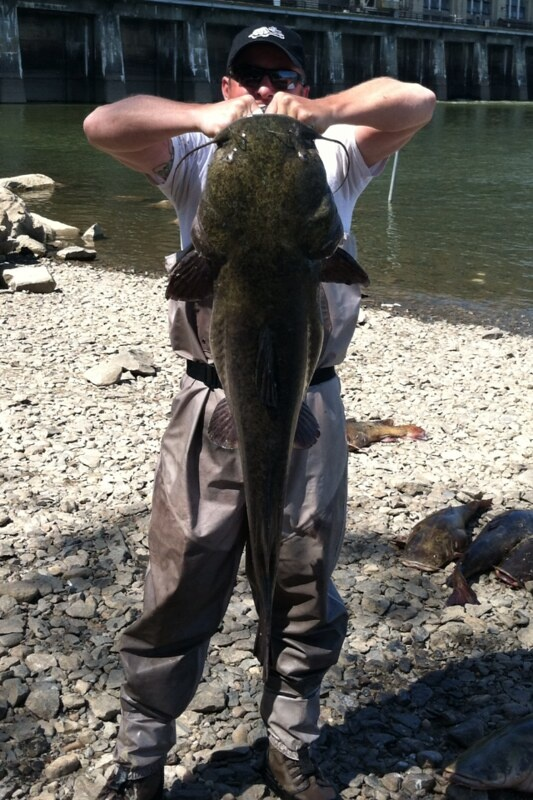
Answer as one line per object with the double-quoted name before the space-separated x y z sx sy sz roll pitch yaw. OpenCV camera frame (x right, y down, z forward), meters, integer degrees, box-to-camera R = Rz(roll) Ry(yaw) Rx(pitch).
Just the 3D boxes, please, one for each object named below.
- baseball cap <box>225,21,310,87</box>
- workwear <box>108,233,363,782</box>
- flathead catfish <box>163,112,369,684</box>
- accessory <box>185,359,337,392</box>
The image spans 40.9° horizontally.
"baseball cap" 0.002 -1.125 2.249 0.181 0.225 0.227 6 37 0
"workwear" -0.117 0.334 2.399 0.713 1.618 0.666 6 8 2
"flathead catfish" 0.027 -0.024 1.528 0.375 1.010 0.283 2 9 2
"accessory" -0.051 -0.077 2.165 0.252 0.057 0.175 0 17 1
